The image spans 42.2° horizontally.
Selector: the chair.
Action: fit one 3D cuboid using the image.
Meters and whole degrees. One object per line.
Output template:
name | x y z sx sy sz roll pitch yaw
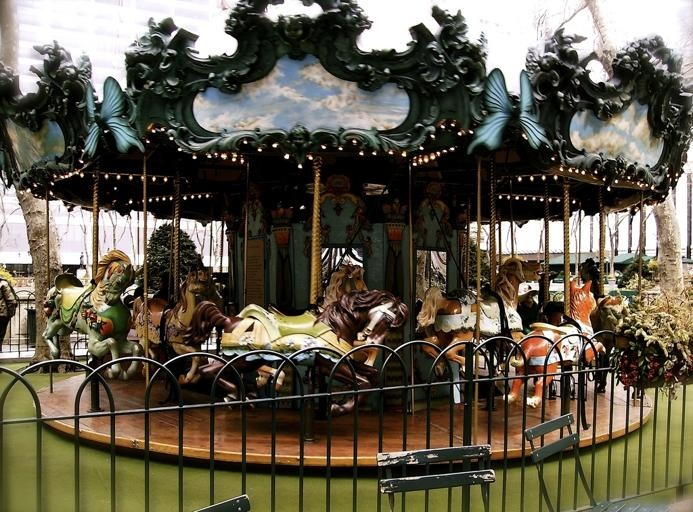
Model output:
chair | 1.802 2.555 10.696 3.258 1.339 1.469 1 -3 -34
